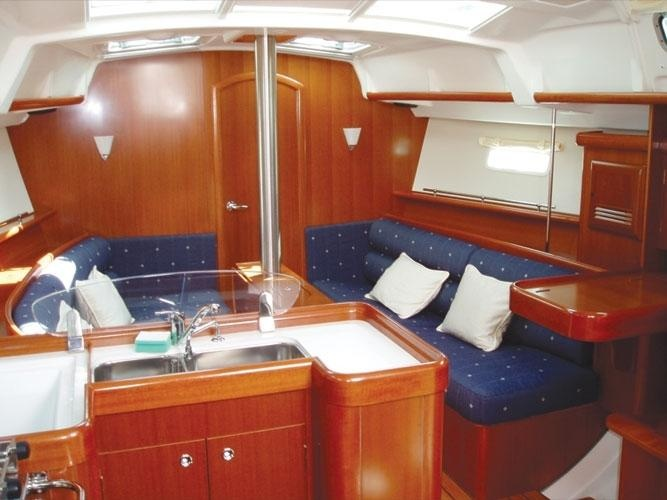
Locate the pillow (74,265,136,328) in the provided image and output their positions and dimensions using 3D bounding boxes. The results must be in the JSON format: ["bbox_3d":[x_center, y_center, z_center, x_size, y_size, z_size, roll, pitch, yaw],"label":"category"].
[{"bbox_3d":[-1.087,0.245,2.450,0.174,0.267,0.301,-5,3,-2],"label":"pillow"}]

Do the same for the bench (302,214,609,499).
[{"bbox_3d":[0.773,0.605,2.871,0.546,0.717,1.565,-2,9,-16],"label":"bench"}]

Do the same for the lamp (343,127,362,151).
[{"bbox_3d":[0.188,-1.110,5.175,0.187,0.177,0.198,-11,21,-33],"label":"lamp"}]

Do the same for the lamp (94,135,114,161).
[{"bbox_3d":[-2.044,-0.904,4.590,0.164,0.205,0.069,-6,10,-24],"label":"lamp"}]

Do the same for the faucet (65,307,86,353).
[{"bbox_3d":[-1.168,0.359,2.312,0.071,0.180,0.096,-6,11,-27],"label":"faucet"}]

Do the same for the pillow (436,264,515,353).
[{"bbox_3d":[0.946,0.404,3.459,0.303,0.403,0.541,-8,13,-24],"label":"pillow"}]
